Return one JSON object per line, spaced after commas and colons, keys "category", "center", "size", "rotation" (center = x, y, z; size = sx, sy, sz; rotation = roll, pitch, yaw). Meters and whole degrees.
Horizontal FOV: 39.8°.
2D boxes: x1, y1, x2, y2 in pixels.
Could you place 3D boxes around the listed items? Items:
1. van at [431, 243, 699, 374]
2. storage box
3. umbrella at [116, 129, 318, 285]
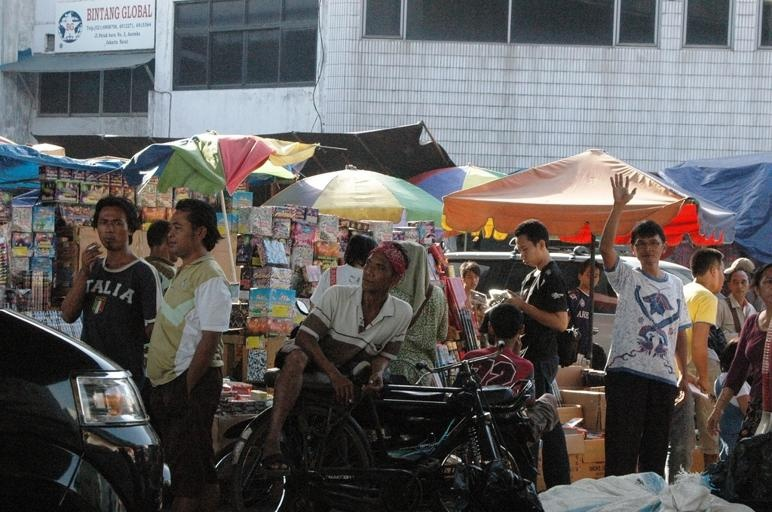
{"category": "van", "center": [2.796, 0.795, 16.805], "size": [3.268, 1.763, 1.859], "rotation": [-1, 2, 4]}
{"category": "storage box", "center": [2.627, 2.163, 12.870], "size": [1.437, 0.972, 1.537], "rotation": [0, 4, 12]}
{"category": "umbrella", "center": [-2.474, -0.801, 15.117], "size": [2.090, 2.027, 2.260], "rotation": [0, -1, -17]}
